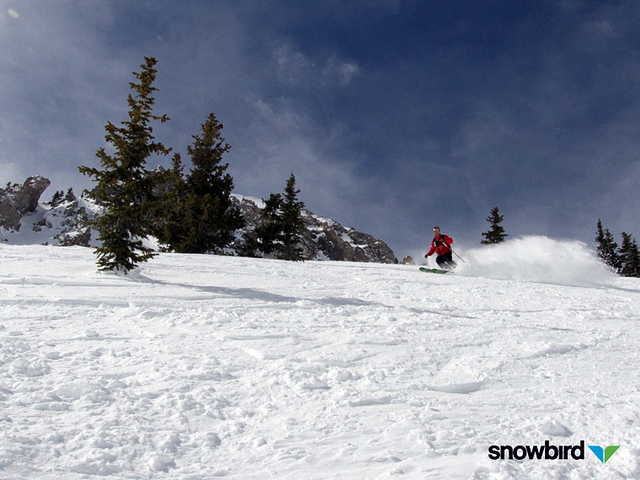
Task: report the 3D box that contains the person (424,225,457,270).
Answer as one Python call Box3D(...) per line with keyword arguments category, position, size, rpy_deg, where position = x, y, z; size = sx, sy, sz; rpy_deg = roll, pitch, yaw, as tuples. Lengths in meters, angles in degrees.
Box3D(category="person", position=(5.760, 0.529, 24.044), size=(1.316, 2.268, 1.182), rpy_deg=(-24, -22, 37))

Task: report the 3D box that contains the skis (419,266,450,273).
Box3D(category="skis", position=(5.231, 1.396, 23.110), size=(0.125, 0.193, 1.116), rpy_deg=(28, -13, -21))
